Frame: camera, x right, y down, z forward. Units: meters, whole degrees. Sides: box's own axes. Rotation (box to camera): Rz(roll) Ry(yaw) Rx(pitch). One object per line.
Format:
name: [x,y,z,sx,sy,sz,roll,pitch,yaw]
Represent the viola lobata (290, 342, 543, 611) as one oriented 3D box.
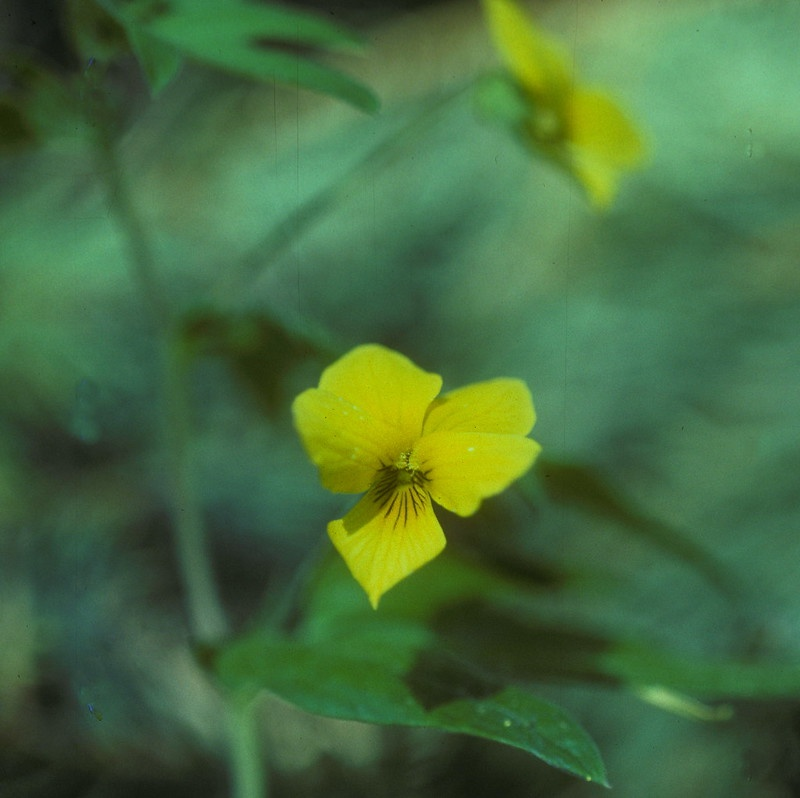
viola lobata: [0.008,0.041,0.933,0.241,0.045,0.200,-38,82,-4]
